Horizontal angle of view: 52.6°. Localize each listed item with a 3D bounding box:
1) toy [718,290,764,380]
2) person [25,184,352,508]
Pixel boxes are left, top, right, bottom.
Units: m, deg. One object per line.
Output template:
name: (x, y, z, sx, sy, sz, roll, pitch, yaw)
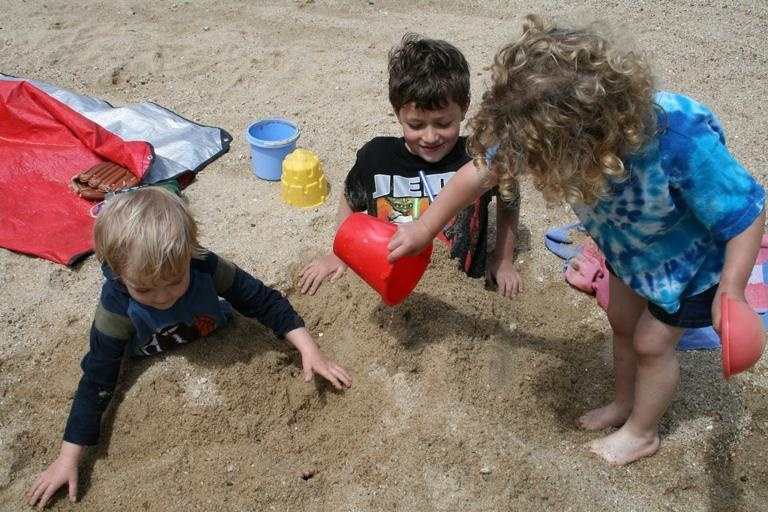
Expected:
toy: (1.758, 0.399, 3.817, 0.223, 0.220, 0.348, 2, 48, 4)
person: (-1.311, 0.468, 4.408, 1.656, 1.230, 1.074, -29, 54, -23)
